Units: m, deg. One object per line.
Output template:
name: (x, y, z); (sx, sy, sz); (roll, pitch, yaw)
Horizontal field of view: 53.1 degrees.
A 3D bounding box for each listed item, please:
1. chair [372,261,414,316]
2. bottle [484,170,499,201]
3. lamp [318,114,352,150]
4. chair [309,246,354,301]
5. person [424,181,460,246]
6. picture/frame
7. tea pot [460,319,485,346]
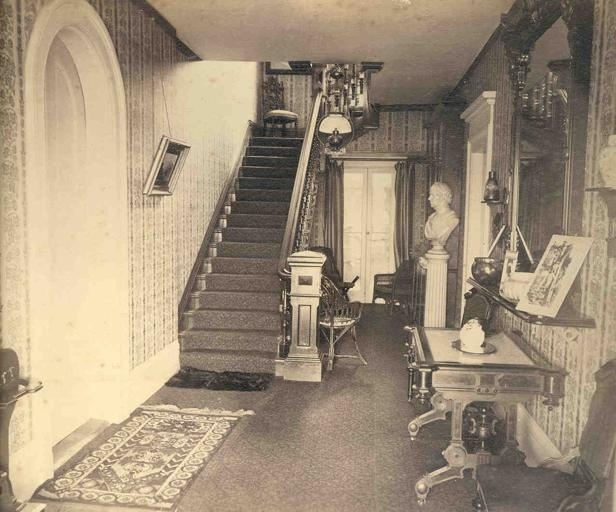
chair: (1.296, 0.492, 9.336); (0.598, 0.779, 1.178); (1, 10, 6)
bottle: (1.523, -0.564, 5.110); (0.131, 0.260, 0.436); (3, 10, 16)
lamp: (0.319, -1.330, 6.846); (0.396, 0.411, 0.386); (2, 26, 4)
chair: (0.295, 0.200, 7.834); (0.283, 0.431, 0.779); (-21, -20, 13)
person: (1.536, -0.451, 7.126); (0.387, 0.770, 0.230); (4, 12, 19)
picture/frame: (-1.316, -0.835, 5.659); (0.077, 0.621, 0.766); (17, 6, 8)
tea pot: (1.076, 0.501, 4.037); (0.167, 0.217, 0.172); (2, -4, 0)
